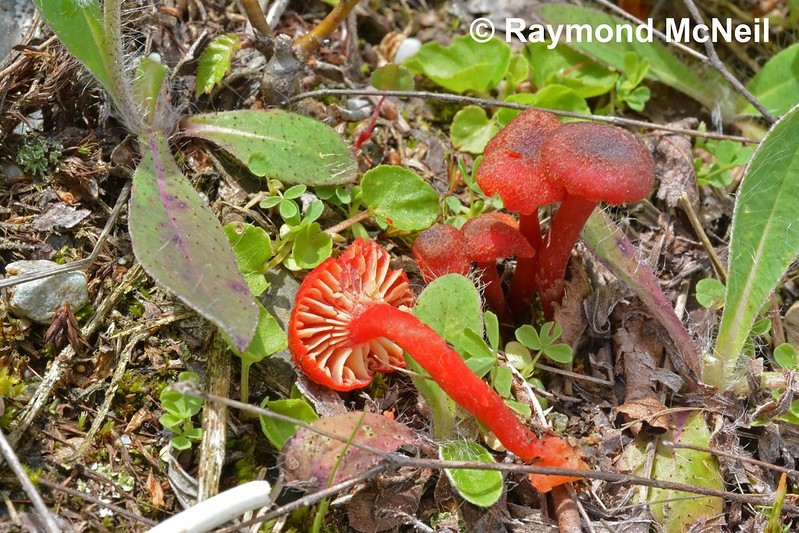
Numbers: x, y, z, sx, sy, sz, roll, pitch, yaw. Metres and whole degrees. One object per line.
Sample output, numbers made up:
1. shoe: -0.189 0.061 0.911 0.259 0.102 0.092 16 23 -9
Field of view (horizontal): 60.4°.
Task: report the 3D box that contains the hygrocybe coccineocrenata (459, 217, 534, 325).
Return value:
1. hygrocybe coccineocrenata: 0.398 0.013 2.808 0.298 0.463 0.343 6 8 -20
